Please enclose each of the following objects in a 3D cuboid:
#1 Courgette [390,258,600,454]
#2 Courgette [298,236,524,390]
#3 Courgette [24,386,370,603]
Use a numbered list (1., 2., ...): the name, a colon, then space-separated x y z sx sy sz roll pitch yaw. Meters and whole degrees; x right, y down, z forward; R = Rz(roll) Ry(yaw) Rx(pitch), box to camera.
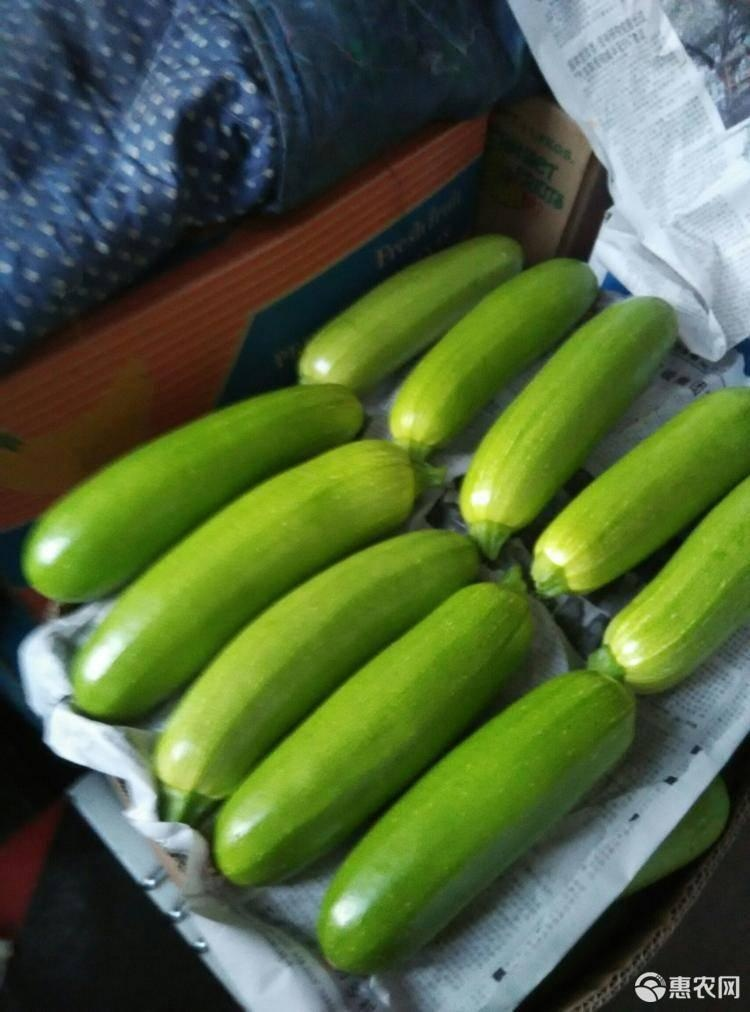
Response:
1. Courgette: 0.122 -0.169 0.957 0.089 0.085 0.298 38 70 23
2. Courgette: 0.040 -0.217 1.007 0.303 0.086 0.091 -37 51 -21
3. Courgette: -0.167 -0.032 0.816 0.337 0.089 0.100 -31 44 -34
